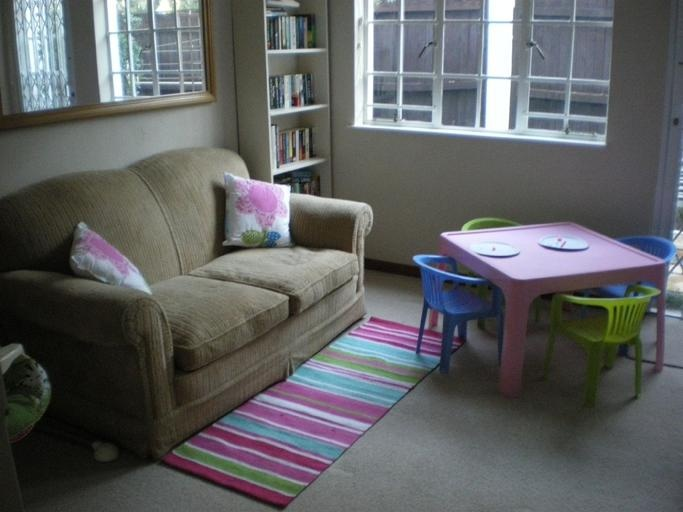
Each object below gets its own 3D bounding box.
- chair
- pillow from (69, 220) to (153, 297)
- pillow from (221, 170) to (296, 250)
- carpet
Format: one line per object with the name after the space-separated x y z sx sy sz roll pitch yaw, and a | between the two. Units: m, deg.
1.209 0.067 3.382 1.047 0.710 1.084 -7 19 -19 | chair
-1.188 0.084 3.065 0.416 0.435 0.113 24 54 -21 | pillow
-0.595 -0.298 3.925 0.530 0.550 0.200 4 -11 -30 | pillow
-0.099 0.825 3.203 0.762 0.091 1.712 15 24 32 | carpet
